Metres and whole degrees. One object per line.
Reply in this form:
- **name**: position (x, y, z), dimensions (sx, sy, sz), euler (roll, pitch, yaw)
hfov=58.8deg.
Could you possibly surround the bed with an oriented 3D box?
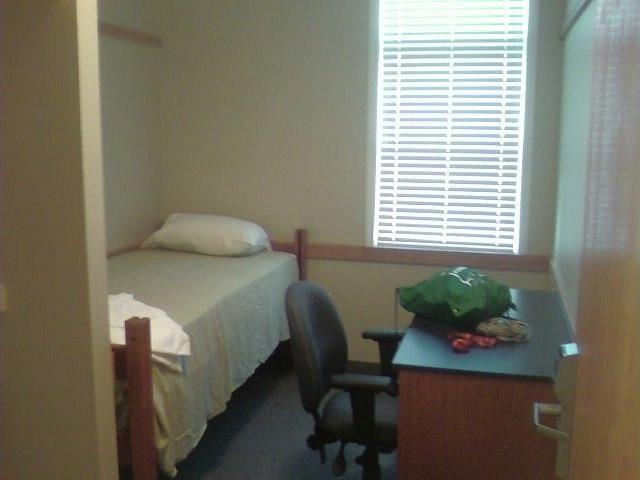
- **bed**: position (-0.599, 0.395, 2.605), dimensions (0.650, 0.470, 1.079), euler (2, 10, 16)
